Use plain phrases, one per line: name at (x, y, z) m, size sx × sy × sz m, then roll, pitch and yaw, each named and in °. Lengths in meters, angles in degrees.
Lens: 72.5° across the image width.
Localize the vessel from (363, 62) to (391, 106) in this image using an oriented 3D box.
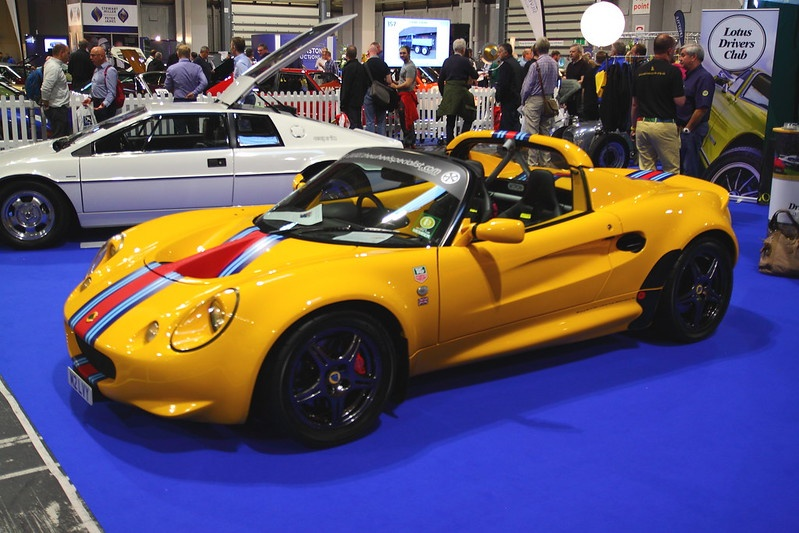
vessel at (-0.602, -4.321, 13.147) m, size 0.817 × 0.957 × 0.589 m, roll 21°, pitch 25°, yaw 13°

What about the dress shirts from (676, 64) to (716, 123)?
dress shirts at (4.846, -2.808, 8.850) m, size 0.467 × 0.906 × 0.964 m, roll -4°, pitch 19°, yaw 6°

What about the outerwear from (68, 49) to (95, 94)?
outerwear at (-8.287, -5.048, 14.037) m, size 0.608 × 0.932 × 0.460 m, roll 2°, pitch 1°, yaw -7°

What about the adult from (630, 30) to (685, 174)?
adult at (4.209, -2.322, 8.746) m, size 0.880 × 2.710 × 0.755 m, roll 7°, pitch 39°, yaw 33°

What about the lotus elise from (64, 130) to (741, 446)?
lotus elise at (0.216, -0.014, 4.549) m, size 4.885 × 1.802 × 2.674 m, roll -5°, pitch 14°, yaw -22°

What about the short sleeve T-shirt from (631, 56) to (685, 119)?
short sleeve T-shirt at (4.063, -2.786, 8.498) m, size 0.452 × 0.952 × 0.835 m, roll -28°, pitch 32°, yaw -28°

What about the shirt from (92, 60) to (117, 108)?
shirt at (-6.046, -3.671, 11.036) m, size 0.414 × 0.775 × 0.851 m, roll -15°, pitch 34°, yaw -30°

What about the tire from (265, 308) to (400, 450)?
tire at (-0.471, 0.714, 3.547) m, size 0.800 × 0.899 × 0.290 m, roll -5°, pitch 7°, yaw -26°

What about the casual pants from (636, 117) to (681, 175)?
casual pants at (4.108, -1.876, 8.770) m, size 0.493 × 1.099 × 0.352 m, roll 14°, pitch 40°, yaw 38°

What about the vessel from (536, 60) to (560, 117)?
vessel at (3.141, -3.646, 11.320) m, size 0.532 × 1.096 × 0.274 m, roll -6°, pitch 18°, yaw -18°
